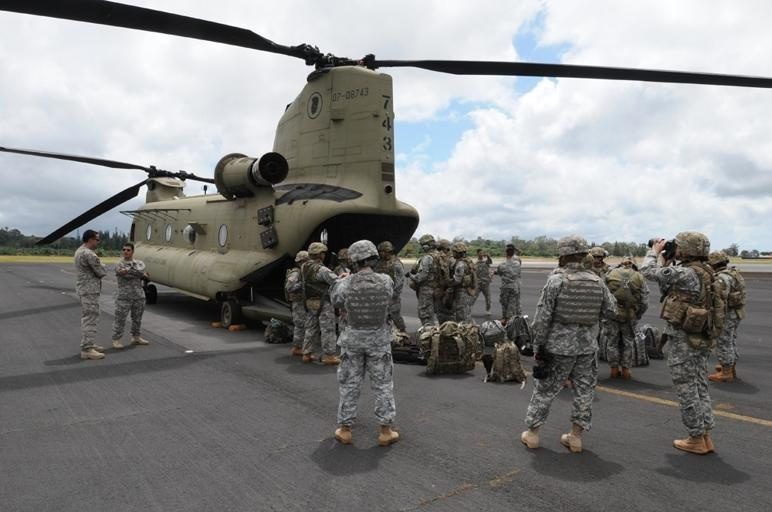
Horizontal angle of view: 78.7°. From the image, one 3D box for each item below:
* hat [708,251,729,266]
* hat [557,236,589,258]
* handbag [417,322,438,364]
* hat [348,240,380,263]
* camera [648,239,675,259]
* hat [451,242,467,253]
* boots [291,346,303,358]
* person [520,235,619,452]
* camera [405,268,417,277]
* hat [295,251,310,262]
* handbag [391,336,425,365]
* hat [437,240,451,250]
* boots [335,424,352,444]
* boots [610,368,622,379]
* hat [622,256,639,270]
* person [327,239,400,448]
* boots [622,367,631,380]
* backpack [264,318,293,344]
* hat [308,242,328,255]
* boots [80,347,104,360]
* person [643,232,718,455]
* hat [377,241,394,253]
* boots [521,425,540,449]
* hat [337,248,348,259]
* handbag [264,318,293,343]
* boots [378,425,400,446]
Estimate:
[{"bbox_3d":[5.718,0.063,8.110,0.205,0.216,0.266,5,14,4],"label":"hat"},{"bbox_3d":[2.369,-0.100,5.937,0.245,0.252,0.309,-2,9,-19],"label":"hat"},{"bbox_3d":[0.776,1.662,9.094,0.616,0.636,0.706,2,-2,0],"label":"handbag"},{"bbox_3d":[-0.335,-0.048,6.667,0.291,0.276,0.370,-8,14,-16],"label":"hat"},{"bbox_3d":[3.724,-0.080,6.349,0.240,0.245,0.105,-18,5,-7],"label":"camera"},{"bbox_3d":[1.724,-0.179,11.090,0.267,0.195,0.250,3,0,41],"label":"hat"},{"bbox_3d":[-1.870,2.017,9.875,0.232,0.216,0.161,10,-14,-26],"label":"boots"},{"bbox_3d":[2.384,1.151,6.193,1.176,2.734,0.770,-5,10,-27],"label":"person"},{"bbox_3d":[0.580,0.416,10.825,0.195,0.133,0.186,3,-5,-2],"label":"camera"},{"bbox_3d":[-1.733,0.029,9.694,0.223,0.151,0.304,-5,7,-23],"label":"hat"},{"bbox_3d":[0.647,2.007,9.883,1.002,0.344,0.810,6,-2,-41],"label":"handbag"},{"bbox_3d":[1.270,-0.216,10.396,0.246,0.267,0.321,3,-11,-7],"label":"hat"},{"bbox_3d":[-0.571,2.406,6.396,0.159,0.272,0.294,2,6,-22],"label":"boots"},{"bbox_3d":[4.268,2.181,8.773,0.123,0.191,0.282,-2,19,14],"label":"boots"},{"bbox_3d":[4.530,0.159,8.755,0.223,0.281,0.291,3,-11,27],"label":"hat"},{"bbox_3d":[-0.267,1.174,6.423,0.864,2.630,0.817,-1,9,-6],"label":"person"},{"bbox_3d":[4.456,2.191,8.685,0.099,0.171,0.278,1,12,11],"label":"boots"},{"bbox_3d":[-2.520,1.764,11.060,0.551,0.595,0.288,8,-14,-10],"label":"backpack"},{"bbox_3d":[-1.327,-0.093,9.234,0.294,0.214,0.265,-10,13,-27],"label":"hat"},{"bbox_3d":[-5.823,1.974,9.438,0.499,0.199,0.239,-1,2,0],"label":"boots"},{"bbox_3d":[4.080,1.119,6.403,0.866,2.792,1.098,-1,9,-7],"label":"person"},{"bbox_3d":[-0.010,-0.175,10.438,0.302,0.221,0.225,7,3,36],"label":"hat"},{"bbox_3d":[1.896,2.397,6.219,0.166,0.227,0.337,-1,7,-6],"label":"boots"},{"bbox_3d":[-0.906,-0.012,10.042,0.195,0.208,0.270,9,16,28],"label":"hat"},{"bbox_3d":[-2.519,1.780,11.078,0.528,0.599,0.301,6,-16,-8],"label":"handbag"},{"bbox_3d":[0.065,2.404,6.380,0.162,0.247,0.377,2,8,32],"label":"boots"}]
